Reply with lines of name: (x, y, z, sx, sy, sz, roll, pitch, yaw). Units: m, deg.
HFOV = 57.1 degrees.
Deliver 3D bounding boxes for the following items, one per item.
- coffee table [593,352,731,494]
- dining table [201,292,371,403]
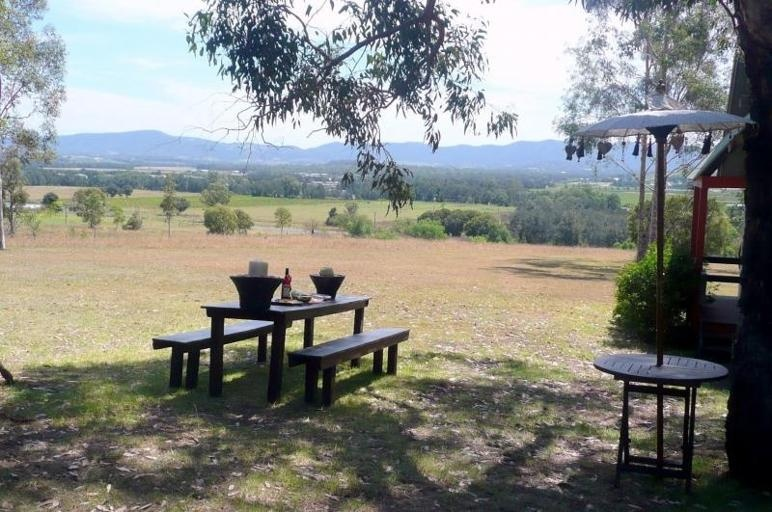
coffee table: (3.453, 2.172, 9.021, 1.605, 1.532, 1.693, 0, 1, 18)
dining table: (-1.940, 1.358, 11.226, 1.087, 1.152, 2.238, 6, -2, 4)
